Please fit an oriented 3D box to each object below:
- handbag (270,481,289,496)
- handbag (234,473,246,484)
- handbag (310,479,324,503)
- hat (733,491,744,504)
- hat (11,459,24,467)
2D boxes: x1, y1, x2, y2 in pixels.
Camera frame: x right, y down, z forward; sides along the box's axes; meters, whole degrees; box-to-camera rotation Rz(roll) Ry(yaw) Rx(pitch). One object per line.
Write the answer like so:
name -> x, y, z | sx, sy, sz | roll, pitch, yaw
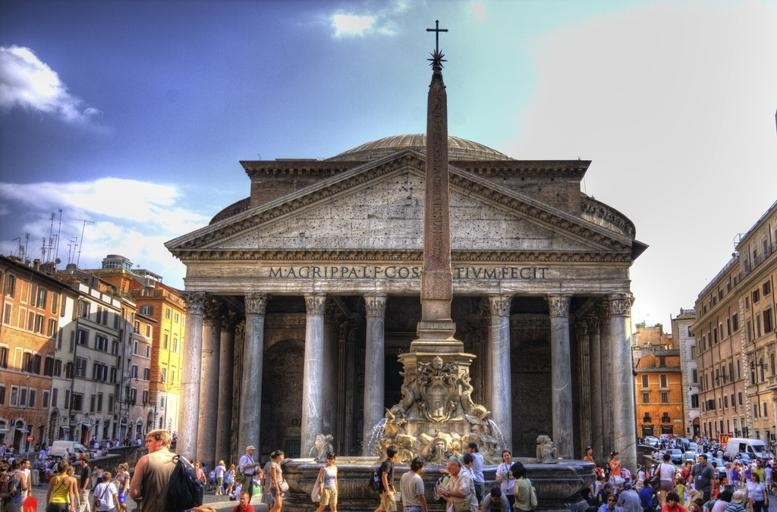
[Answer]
handbag -> -3.411, 7.130, 24.229 | 0.526, 0.493, 0.425 | 3, -16, 15
handbag -> -5.519, 8.242, 29.320 | 0.460, 0.383, 0.596 | 7, -15, -12
handbag -> -2.088, 6.748, 22.807 | 0.253, 0.586, 0.530 | 3, -18, -11
hat -> 9.706, 6.699, 21.970 | 0.277, 0.176, 0.397 | -14, -7, 34
hat -> -11.389, 6.327, 24.171 | 0.248, 0.239, 0.250 | 8, 2, 30
